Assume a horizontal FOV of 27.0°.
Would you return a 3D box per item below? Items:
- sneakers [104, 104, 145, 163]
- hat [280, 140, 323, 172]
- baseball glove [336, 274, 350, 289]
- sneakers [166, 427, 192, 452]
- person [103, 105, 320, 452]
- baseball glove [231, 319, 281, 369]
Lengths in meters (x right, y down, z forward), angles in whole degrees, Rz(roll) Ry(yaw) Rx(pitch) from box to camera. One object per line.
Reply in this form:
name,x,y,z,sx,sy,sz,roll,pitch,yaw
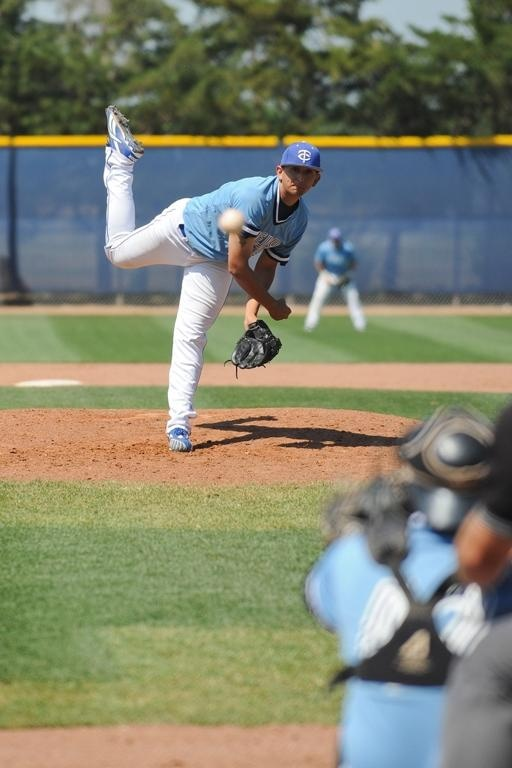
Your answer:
sneakers,-0.632,-1.214,5.185,0.130,0.156,0.363,33,17,-42
hat,0.200,-0.959,4.454,0.120,0.080,0.155,10,6,-8
baseball glove,0.899,-1.049,10.674,0.140,0.113,0.031,0,-1,-20
sneakers,-0.334,0.249,4.792,0.120,0.108,0.261,2,-2,-8
person,-0.188,-0.465,4.888,0.659,1.497,1.140,-5,11,-30
baseball glove,0.055,-0.165,5.021,0.185,0.257,0.093,41,-6,28
